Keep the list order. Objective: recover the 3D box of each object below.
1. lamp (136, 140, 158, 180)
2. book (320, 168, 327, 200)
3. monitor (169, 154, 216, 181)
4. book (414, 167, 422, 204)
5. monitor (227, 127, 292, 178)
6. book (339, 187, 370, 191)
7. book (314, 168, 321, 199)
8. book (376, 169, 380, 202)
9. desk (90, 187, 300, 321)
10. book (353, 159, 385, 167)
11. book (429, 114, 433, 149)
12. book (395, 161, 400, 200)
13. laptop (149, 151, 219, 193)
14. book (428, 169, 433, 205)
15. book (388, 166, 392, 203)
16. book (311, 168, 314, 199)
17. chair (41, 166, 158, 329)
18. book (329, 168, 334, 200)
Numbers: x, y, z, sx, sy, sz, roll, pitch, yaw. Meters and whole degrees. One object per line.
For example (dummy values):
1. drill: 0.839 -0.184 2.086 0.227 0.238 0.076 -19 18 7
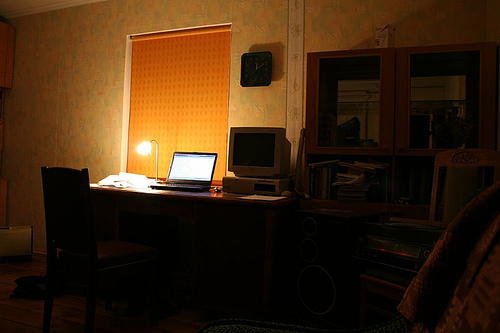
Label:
1. lamp: -1.205 -0.091 4.698 0.224 0.442 0.239 0 5 -10
2. book: 0.706 0.159 3.759 0.057 0.292 0.040 2 4 12
3. monitor: -0.615 0.001 4.232 0.389 0.296 0.238 3 -5 20
4. book: 1.534 0.172 3.602 0.059 0.306 0.094 3 5 23
5. monitor: 0.111 -0.113 4.093 0.565 0.494 0.410 1 -7 26
6. book: 0.961 0.207 3.646 0.248 0.035 0.029 2 5 9
7. book: 0.651 0.156 3.778 0.057 0.285 0.039 2 4 11
8. book: 1.194 0.168 3.659 0.032 0.297 0.021 2 4 10
9. desk: -0.777 0.715 4.125 2.239 1.125 0.809 4 8 18
10. book: 1.105 -0.034 3.700 0.310 0.049 0.167 4 6 29
11. book: 1.616 -0.312 3.519 0.029 0.300 0.044 2 5 19
12. book: 1.360 0.128 3.634 0.035 0.336 0.098 2 5 21
13. laptop: -0.674 0.045 4.084 0.569 0.349 0.445 4 6 21
14. book: 1.618 0.184 3.537 0.027 0.307 0.249 3 5 24
15. book: 1.284 0.160 3.612 0.028 0.329 0.059 2 4 12
16. book: 0.603 0.156 3.785 0.030 0.284 0.041 1 4 0
17. chair: -1.288 0.685 3.369 0.876 1.399 0.744 -3 6 -37
18. book: 0.775 0.158 3.757 0.049 0.217 0.211 0 7 12
